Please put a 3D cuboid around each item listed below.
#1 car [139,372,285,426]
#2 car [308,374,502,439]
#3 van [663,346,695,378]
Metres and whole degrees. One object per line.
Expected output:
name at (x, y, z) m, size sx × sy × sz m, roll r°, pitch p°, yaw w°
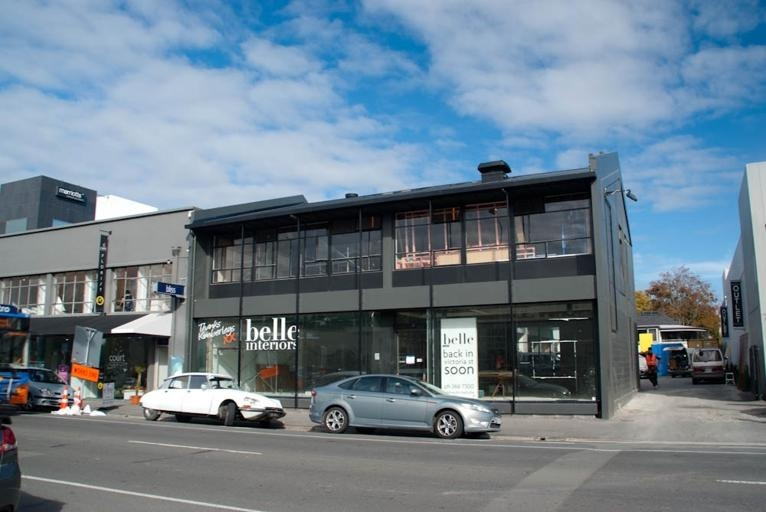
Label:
car at (-6.381, 5.577, 22.433) m, size 4.658 × 1.420 × 2.465 m, roll -8°, pitch -20°, yaw 26°
car at (0.732, 5.134, 19.788) m, size 5.670 × 1.811 × 2.476 m, roll -4°, pitch -13°, yaw 19°
van at (24.392, 8.803, 48.314) m, size 1.601 × 1.563 × 2.756 m, roll -3°, pitch -2°, yaw 23°
